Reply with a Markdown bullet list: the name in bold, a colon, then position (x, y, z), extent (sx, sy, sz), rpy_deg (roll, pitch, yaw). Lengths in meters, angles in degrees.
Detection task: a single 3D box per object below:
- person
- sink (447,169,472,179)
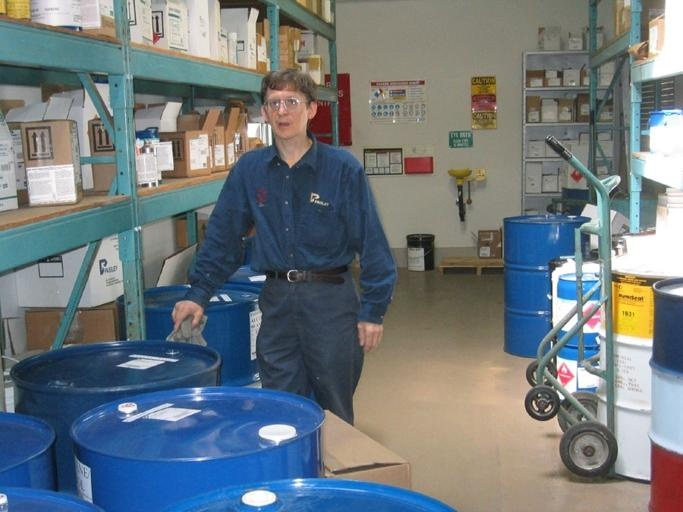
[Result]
- **person**: position (-0.249, 0.174, 2.438), extent (0.861, 1.925, 0.527), rpy_deg (-5, 30, -8)
- **sink**: position (1.773, -1.228, 8.256), extent (0.367, 0.130, 0.264), rpy_deg (-2, 10, 1)
